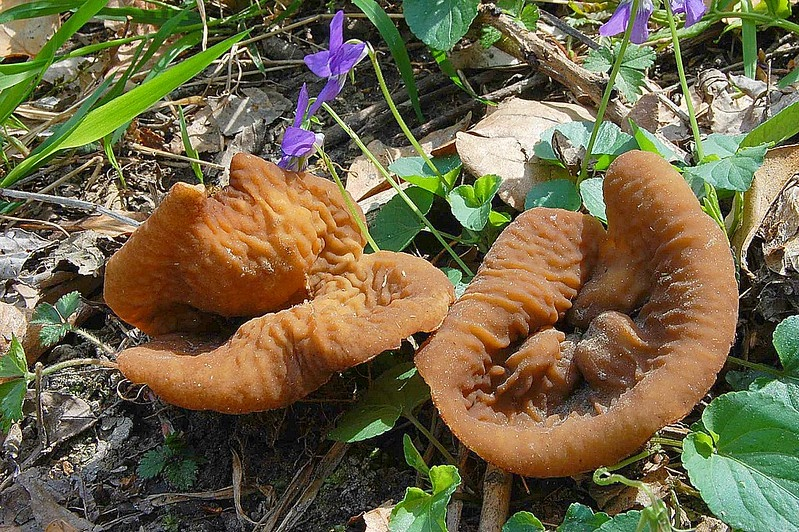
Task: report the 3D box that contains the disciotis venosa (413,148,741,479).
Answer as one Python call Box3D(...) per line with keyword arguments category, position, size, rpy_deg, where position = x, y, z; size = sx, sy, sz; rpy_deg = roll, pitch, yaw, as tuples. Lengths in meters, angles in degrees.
Box3D(category="disciotis venosa", position=(0.786, 0.213, 3.233), size=(1.403, 0.779, 1.069), rpy_deg=(-25, 41, -12))

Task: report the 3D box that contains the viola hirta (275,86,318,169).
Box3D(category="viola hirta", position=(-0.473, -0.648, 3.529), size=(0.168, 0.429, 0.186), rpy_deg=(10, 20, 31))
